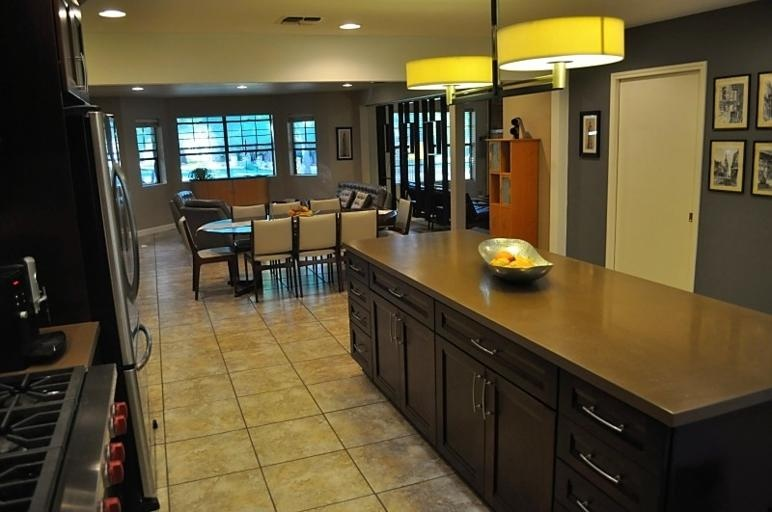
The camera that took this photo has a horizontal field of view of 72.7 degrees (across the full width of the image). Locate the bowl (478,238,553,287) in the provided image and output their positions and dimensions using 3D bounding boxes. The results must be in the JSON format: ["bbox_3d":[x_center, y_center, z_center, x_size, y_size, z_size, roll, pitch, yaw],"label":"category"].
[{"bbox_3d":[0.821,0.033,3.381,0.410,0.180,0.592,1,12,-9],"label":"bowl"}]

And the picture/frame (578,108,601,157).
[{"bbox_3d":[2.532,-1.499,6.530,0.442,0.622,0.062,-9,11,-30],"label":"picture/frame"}]

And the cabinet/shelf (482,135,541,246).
[{"bbox_3d":[1.878,-0.850,7.862,0.445,1.660,0.873,-6,12,-14],"label":"cabinet/shelf"}]

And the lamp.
[{"bbox_3d":[0.742,-1.289,3.115,0.703,0.652,1.199,-10,15,-21],"label":"lamp"}]

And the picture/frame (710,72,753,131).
[{"bbox_3d":[3.359,-1.468,5.087,0.079,0.495,0.371,-8,14,-13],"label":"picture/frame"}]

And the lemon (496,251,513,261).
[{"bbox_3d":[0.745,0.001,3.289,0.062,0.035,0.063,6,6,23],"label":"lemon"}]
